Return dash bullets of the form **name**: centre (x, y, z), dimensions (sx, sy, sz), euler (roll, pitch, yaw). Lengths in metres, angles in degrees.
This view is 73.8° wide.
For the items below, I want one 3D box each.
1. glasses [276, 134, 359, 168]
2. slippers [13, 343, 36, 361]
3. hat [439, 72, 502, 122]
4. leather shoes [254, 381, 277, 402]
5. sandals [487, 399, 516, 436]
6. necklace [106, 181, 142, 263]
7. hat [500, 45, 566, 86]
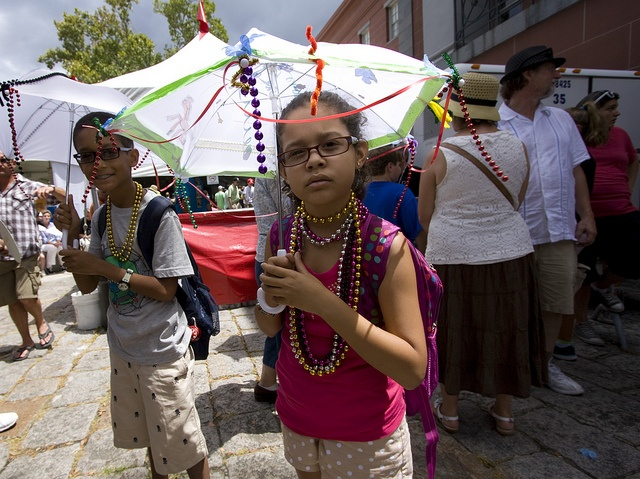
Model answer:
- **glasses**: centre (-0.004, -0.428, 2.157), dimensions (0.214, 0.058, 0.213), euler (-19, -9, 3)
- **slippers**: centre (-3.338, 1.256, 4.742), dimensions (0.187, 0.118, 0.252), euler (-10, 10, -22)
- **hat**: centre (1.104, -1.010, 3.199), dimensions (0.408, 0.232, 0.394), euler (2, 16, 3)
- **leather shoes**: centre (-0.434, 1.326, 3.723), dimensions (0.268, 0.127, 0.099), euler (0, 2, -38)
- **sandals**: centre (1.385, 1.352, 3.243), dimensions (0.114, 0.110, 0.299), euler (-1, 15, 4)
- **necklace**: centre (-1.246, -0.096, 2.731), dimensions (0.266, 0.453, 0.092), euler (-8, -16, 21)
- **hat**: centre (1.764, -1.447, 3.596), dimensions (0.557, 0.187, 0.491), euler (-14, 1, 35)
